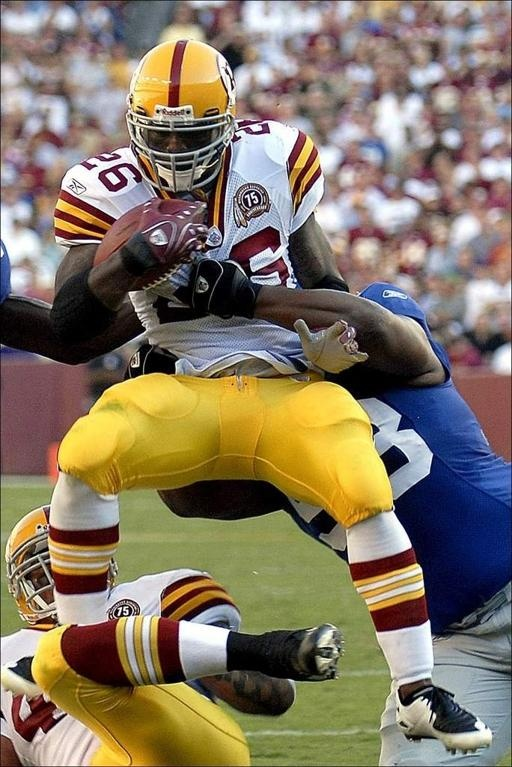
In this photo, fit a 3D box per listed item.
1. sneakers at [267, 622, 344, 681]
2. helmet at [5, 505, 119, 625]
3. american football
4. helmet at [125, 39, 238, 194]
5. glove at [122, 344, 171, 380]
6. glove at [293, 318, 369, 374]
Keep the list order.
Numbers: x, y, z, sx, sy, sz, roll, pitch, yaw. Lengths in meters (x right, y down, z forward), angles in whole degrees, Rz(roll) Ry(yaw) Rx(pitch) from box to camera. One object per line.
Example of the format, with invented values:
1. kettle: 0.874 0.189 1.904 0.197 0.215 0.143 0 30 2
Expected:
1. sneakers: 0.087 0.424 1.440 0.124 0.061 0.053 0 1 39
2. helmet: -0.411 0.401 1.991 0.235 0.213 0.273 -26 -15 -15
3. american football: -0.153 -0.263 1.668 0.169 0.073 0.209 5 30 39
4. helmet: -0.146 -0.521 1.791 0.286 0.266 0.313 -1 20 2
5. glove: -0.215 -0.041 1.886 0.096 0.080 0.071 2 -1 13
6. glove: 0.153 -0.070 1.705 0.122 0.097 0.049 -10 41 50
